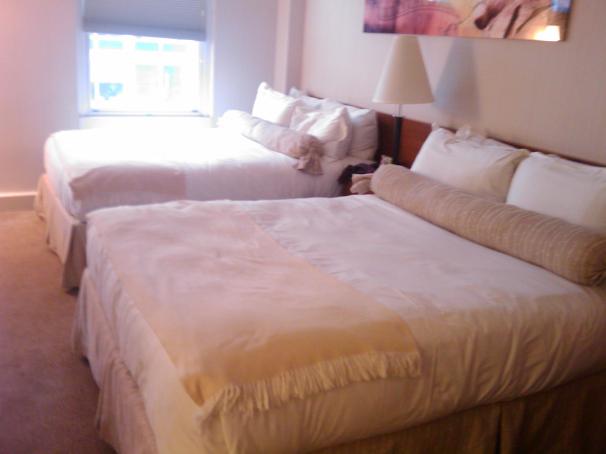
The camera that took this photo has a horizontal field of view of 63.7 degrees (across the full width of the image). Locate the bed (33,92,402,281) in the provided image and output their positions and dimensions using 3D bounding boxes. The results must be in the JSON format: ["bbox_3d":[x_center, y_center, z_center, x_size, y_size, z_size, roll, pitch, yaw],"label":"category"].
[{"bbox_3d":[-0.781,-0.406,3.590,1.945,0.954,1.665,1,0,3],"label":"bed"}]
